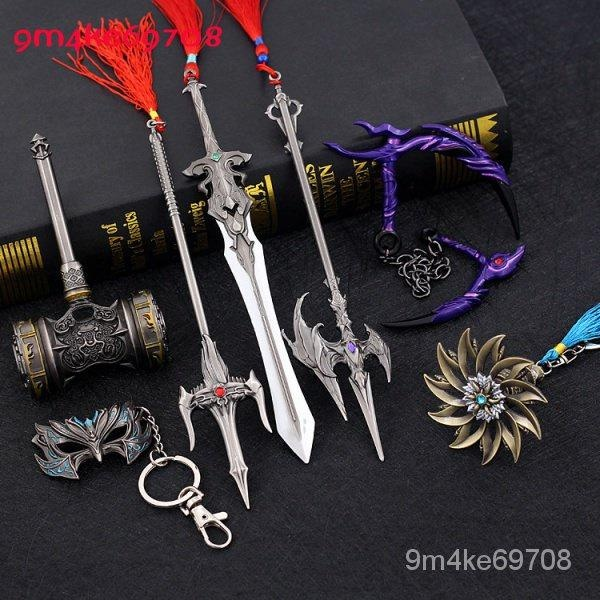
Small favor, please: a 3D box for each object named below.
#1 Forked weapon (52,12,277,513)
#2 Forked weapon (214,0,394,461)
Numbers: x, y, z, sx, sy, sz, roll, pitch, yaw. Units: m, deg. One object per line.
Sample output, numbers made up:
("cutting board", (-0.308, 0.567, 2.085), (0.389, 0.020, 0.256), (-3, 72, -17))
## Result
("Forked weapon", (-0.331, -0.169, 1.954), (0.436, 0.244, 1.378), (-17, 72, -6))
("Forked weapon", (0.011, -0.129, 1.815), (0.215, 1.212, 0.186), (-31, -14, 29))
